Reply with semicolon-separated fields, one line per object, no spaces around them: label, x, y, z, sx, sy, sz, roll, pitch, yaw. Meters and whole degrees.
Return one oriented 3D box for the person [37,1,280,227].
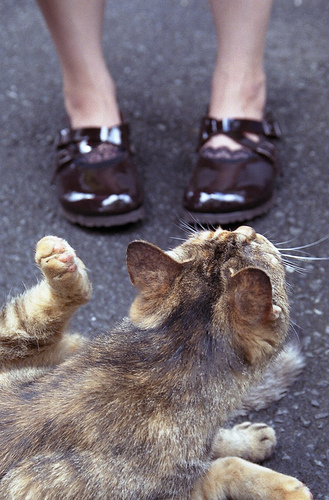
person;0.018;-0.669;2.510;1.015;1.160;1.024;-2;24;0
